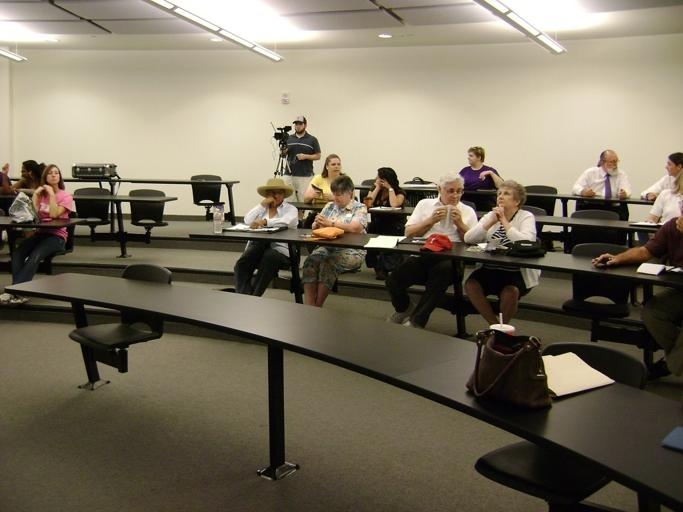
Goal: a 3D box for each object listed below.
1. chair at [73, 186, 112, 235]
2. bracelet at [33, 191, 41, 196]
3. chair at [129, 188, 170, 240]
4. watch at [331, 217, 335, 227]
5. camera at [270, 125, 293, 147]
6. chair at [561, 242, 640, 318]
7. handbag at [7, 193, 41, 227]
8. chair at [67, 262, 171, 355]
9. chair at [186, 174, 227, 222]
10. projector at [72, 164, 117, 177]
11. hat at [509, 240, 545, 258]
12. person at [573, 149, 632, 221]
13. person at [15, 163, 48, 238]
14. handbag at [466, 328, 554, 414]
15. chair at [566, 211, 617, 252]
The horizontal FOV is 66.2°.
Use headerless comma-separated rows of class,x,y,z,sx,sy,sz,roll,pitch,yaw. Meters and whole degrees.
chair,-3.240,-0.593,6.881,0.451,0.526,1.444,-6,14,-26
bracelet,-3.019,-0.620,5.197,0.053,0.060,0.056,2,3,-4
chair,-2.595,-0.513,7.042,0.474,0.693,0.506,3,4,-12
watch,-0.075,-0.318,4.812,0.024,0.075,0.055,3,-13,2
camera,-0.837,-1.688,7.396,0.192,0.279,0.376,-2,13,-10
chair,1.870,0.144,3.794,0.494,0.518,0.605,0,2,35
handbag,-3.108,-0.453,5.145,0.261,0.299,0.110,1,-11,-26
chair,-1.501,0.298,3.443,0.512,0.439,0.414,4,-1,-28
chair,-2.104,-0.891,8.208,0.456,0.740,0.506,-1,16,-12
projector,-3.453,-1.179,7.296,0.649,0.211,0.242,5,13,18
hat,1.349,-0.056,3.804,0.292,0.113,0.138,-1,12,-6
person,3.465,-0.839,7.001,0.689,0.993,0.619,6,16,13
person,-3.419,-0.637,5.817,0.292,0.826,0.296,22,28,17
handbag,0.625,0.416,1.954,0.212,0.265,0.377,0,1,-23
chair,2.452,-0.249,5.095,0.347,0.444,0.374,9,15,34
